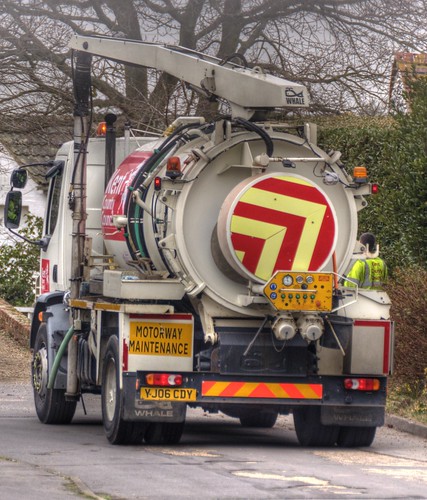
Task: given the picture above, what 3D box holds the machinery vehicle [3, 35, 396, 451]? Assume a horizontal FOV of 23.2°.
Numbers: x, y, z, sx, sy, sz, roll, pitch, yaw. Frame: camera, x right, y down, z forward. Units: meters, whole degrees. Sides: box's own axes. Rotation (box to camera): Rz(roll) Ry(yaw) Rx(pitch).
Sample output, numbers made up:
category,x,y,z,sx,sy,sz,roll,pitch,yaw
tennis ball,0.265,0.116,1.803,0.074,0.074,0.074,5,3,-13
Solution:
category,x,y,z,sx,sy,sz,roll,pitch,yaw
machinery vehicle,0.254,0.059,11.019,2.508,3.786,4.691,2,-1,-20
